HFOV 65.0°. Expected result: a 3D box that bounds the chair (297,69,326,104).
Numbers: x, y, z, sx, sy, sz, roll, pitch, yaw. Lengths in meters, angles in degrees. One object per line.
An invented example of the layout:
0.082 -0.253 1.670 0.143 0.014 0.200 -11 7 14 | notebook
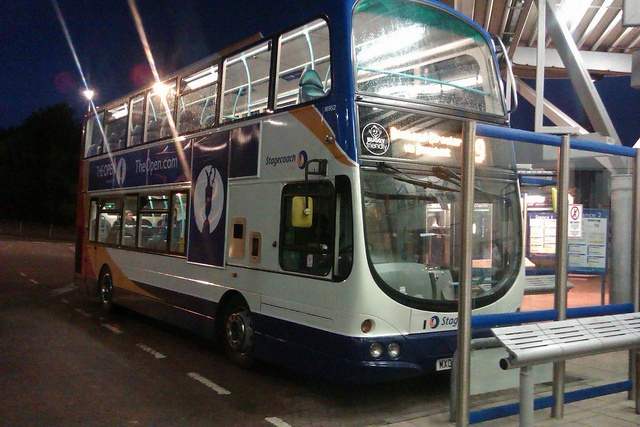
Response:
-0.147 -2.116 8.305 0.416 0.694 0.538 1 3 -12 | chair
